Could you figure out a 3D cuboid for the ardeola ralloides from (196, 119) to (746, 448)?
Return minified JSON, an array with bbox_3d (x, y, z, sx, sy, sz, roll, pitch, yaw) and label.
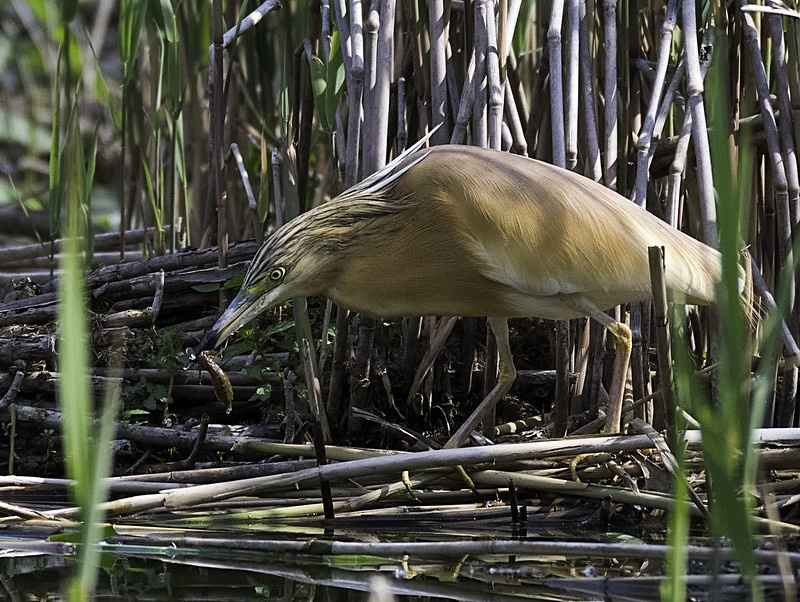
[{"bbox_3d":[0.354,-0.067,3.255,1.514,1.039,0.436,-6,23,-15],"label":"ardeola ralloides"}]
